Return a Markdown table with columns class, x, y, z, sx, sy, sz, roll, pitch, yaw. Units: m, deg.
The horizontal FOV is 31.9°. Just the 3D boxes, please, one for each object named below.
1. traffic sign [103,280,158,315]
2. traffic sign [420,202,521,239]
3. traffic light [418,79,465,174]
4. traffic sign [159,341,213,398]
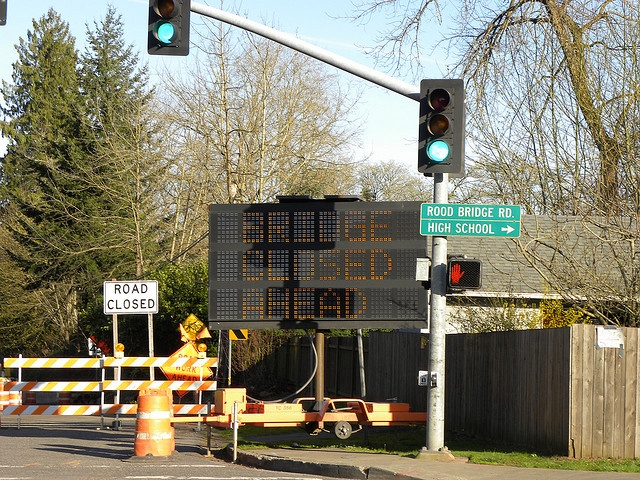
| class | x | y | z | sx | sy | sz | roll | pitch | yaw |
| --- | --- | --- | --- | --- | --- | --- | --- | --- | --- |
| traffic sign | -5.520 | 1.675 | 32.458 | 1.226 | 1.114 | 0.911 | 0 | -8 | -17 |
| traffic sign | 3.449 | -0.460 | 25.641 | 2.268 | 0.762 | 0.281 | 1 | -4 | 2 |
| traffic light | 2.788 | -2.603 | 25.654 | 1.047 | 2.149 | 0.519 | 1 | -4 | 6 |
| traffic sign | -3.968 | 3.711 | 32.586 | 1.470 | 1.770 | 1.152 | 2 | -6 | -17 |
